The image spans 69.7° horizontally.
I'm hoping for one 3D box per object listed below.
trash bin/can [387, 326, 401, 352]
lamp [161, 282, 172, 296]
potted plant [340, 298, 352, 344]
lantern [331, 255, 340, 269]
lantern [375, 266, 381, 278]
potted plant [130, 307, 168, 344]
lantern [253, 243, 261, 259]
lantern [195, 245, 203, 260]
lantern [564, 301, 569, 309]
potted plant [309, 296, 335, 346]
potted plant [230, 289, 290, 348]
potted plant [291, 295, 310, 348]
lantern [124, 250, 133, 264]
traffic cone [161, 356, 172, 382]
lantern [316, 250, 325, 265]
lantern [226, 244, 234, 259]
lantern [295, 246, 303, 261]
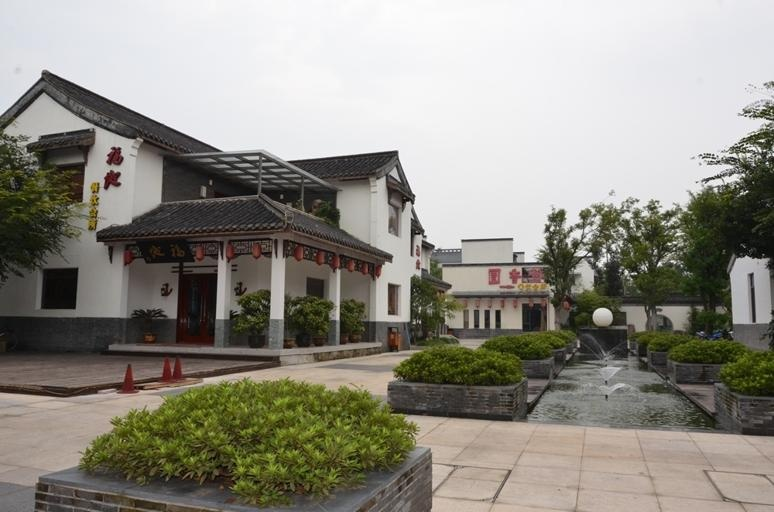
[{"bbox_3d":[0.282,3.563,24.071,0.483,1.019,0.783,-1,-2,9],"label":"trash bin/can"},{"bbox_3d":[-7.880,1.202,20.192,0.517,0.486,0.303,5,-9,-43],"label":"lamp"},{"bbox_3d":[-1.604,2.469,21.063,0.420,1.596,0.869,-1,-2,-5],"label":"potted plant"},{"bbox_3d":[-1.867,0.213,20.074,0.261,0.504,0.551,-1,-2,10],"label":"lantern"},{"bbox_3d":[-0.357,0.610,22.910,0.377,0.548,0.372,-1,1,3],"label":"lantern"},{"bbox_3d":[-8.396,2.493,19.708,1.352,1.231,1.357,-9,-10,14],"label":"potted plant"},{"bbox_3d":[-4.060,-0.209,17.239,0.297,0.423,0.283,-1,-2,-3],"label":"lantern"},{"bbox_3d":[-6.022,-0.150,17.875,0.401,0.458,0.256,-2,-2,34],"label":"lantern"},{"bbox_3d":[13.539,3.647,41.999,0.349,0.563,1.371,-2,-3,30],"label":"lantern"},{"bbox_3d":[-2.200,2.250,19.174,0.687,1.653,2.058,0,-2,-7],"label":"potted plant"},{"bbox_3d":[-4.040,2.000,17.936,1.397,1.525,1.233,-17,-17,42],"label":"potted plant"},{"bbox_3d":[-2.940,2.218,18.880,0.664,1.716,1.710,0,-2,-8],"label":"potted plant"},{"bbox_3d":[-8.761,-0.004,18.839,0.355,0.580,0.220,0,-2,-20],"label":"lantern"},{"bbox_3d":[-5.106,2.567,12.852,0.212,0.509,0.823,0,-2,-21],"label":"traffic cone"},{"bbox_3d":[-2.290,0.005,18.997,0.351,0.422,0.195,1,-3,-43],"label":"lantern"},{"bbox_3d":[-4.989,-0.173,17.587,0.267,0.586,0.351,1,-2,-34],"label":"lantern"},{"bbox_3d":[-2.853,-0.148,17.914,0.250,0.461,0.551,-1,-2,2],"label":"lantern"}]
